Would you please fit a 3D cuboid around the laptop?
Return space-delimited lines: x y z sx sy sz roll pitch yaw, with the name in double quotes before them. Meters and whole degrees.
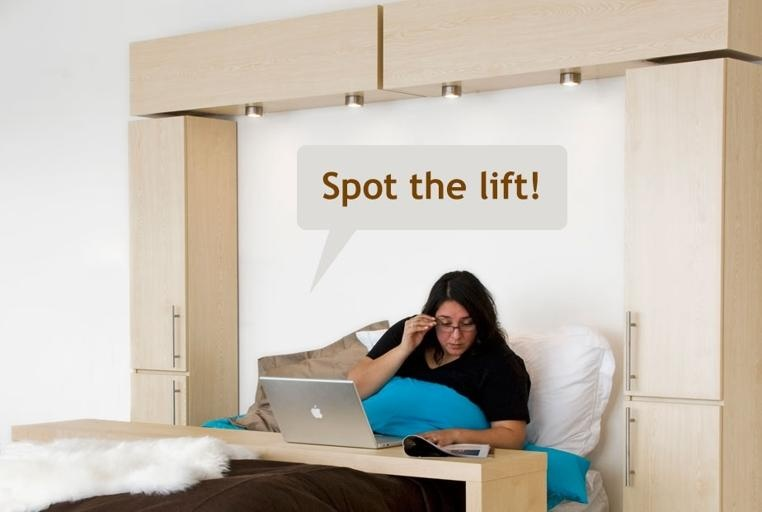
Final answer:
"laptop" -0.228 0.540 2.477 0.405 0.213 0.379 -4 -9 34

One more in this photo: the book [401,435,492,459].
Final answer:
"book" 0.248 0.693 2.404 0.317 0.071 0.244 1 -2 4

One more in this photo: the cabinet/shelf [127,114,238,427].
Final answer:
"cabinet/shelf" -1.289 0.086 4.217 0.752 1.978 0.321 2 -2 -15

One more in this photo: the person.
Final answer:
"person" 0.311 0.494 3.062 0.926 0.724 0.673 7 1 45

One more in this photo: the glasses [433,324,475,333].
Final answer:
"glasses" 0.342 0.327 2.932 0.170 0.038 0.043 1 -2 4

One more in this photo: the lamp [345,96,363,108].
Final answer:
"lamp" -0.154 -0.906 3.752 0.110 0.052 0.100 1 -2 -4

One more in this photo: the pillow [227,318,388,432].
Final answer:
"pillow" -0.427 0.715 3.758 0.764 0.205 0.652 -14 7 37
